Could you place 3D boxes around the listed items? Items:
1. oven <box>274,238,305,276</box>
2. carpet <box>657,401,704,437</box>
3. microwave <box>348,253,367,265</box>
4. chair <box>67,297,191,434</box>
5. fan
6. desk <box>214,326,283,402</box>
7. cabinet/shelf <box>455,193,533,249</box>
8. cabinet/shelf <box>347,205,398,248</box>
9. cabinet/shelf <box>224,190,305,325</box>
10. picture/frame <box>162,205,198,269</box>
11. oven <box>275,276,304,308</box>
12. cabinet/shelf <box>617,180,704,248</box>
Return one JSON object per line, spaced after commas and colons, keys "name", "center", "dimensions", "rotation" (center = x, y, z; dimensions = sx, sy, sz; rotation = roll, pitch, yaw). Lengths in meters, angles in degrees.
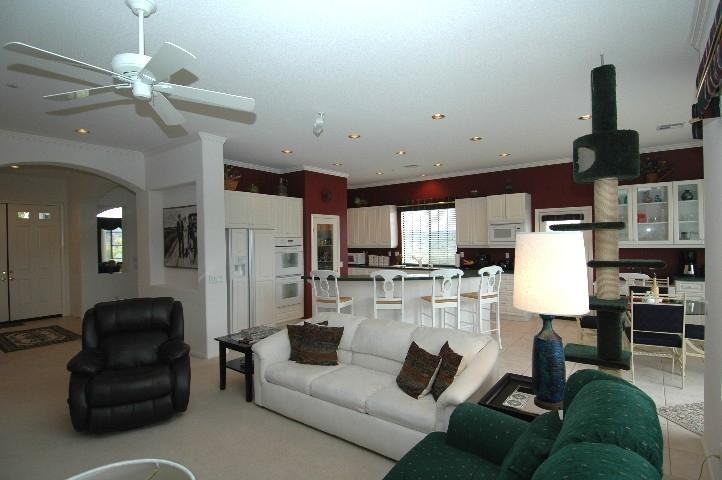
{"name": "oven", "center": [-1.359, 0.381, 9.078], "dimensions": [0.535, 0.483, 0.628], "rotation": [4, 19, -13]}
{"name": "carpet", "center": [3.630, 1.950, 5.307], "dimensions": [0.408, 0.019, 0.459], "rotation": [-6, 9, 30]}
{"name": "microwave", "center": [-0.080, 0.434, 11.122], "dimensions": [0.423, 0.246, 0.393], "rotation": [-1, 13, -1]}
{"name": "chair", "center": [-2.723, 1.425, 5.688], "dimensions": [1.373, 1.303, 1.575], "rotation": [-2, 3, -11]}
{"name": "fan", "center": [-1.926, -1.433, 4.332], "dimensions": [1.340, 0.545, 1.313], "rotation": [-2, -16, -11]}
{"name": "desk", "center": [-1.512, 1.390, 5.975], "dimensions": [0.786, 0.762, 1.034], "rotation": [5, 4, 36]}
{"name": "cabinet/shelf", "center": [2.528, -0.371, 8.868], "dimensions": [1.133, 0.778, 0.396], "rotation": [-3, -5, 41]}
{"name": "cabinet/shelf", "center": [0.276, -0.265, 11.106], "dimensions": [1.242, 1.004, 0.340], "rotation": [0, 0, 36]}
{"name": "cabinet/shelf", "center": [-1.727, 0.351, 8.410], "dimensions": [0.604, 2.520, 1.984], "rotation": [7, 16, 29]}
{"name": "picture/frame", "center": [-2.918, -0.054, 7.614], "dimensions": [1.044, 1.007, 0.016], "rotation": [-1, -1, 41]}
{"name": "oven", "center": [-1.479, 0.955, 8.919], "dimensions": [0.444, 0.570, 0.669], "rotation": [-2, -6, 38]}
{"name": "cabinet/shelf", "center": [4.906, -0.422, 7.643], "dimensions": [1.137, 1.023, 0.403], "rotation": [-2, -4, 38]}
